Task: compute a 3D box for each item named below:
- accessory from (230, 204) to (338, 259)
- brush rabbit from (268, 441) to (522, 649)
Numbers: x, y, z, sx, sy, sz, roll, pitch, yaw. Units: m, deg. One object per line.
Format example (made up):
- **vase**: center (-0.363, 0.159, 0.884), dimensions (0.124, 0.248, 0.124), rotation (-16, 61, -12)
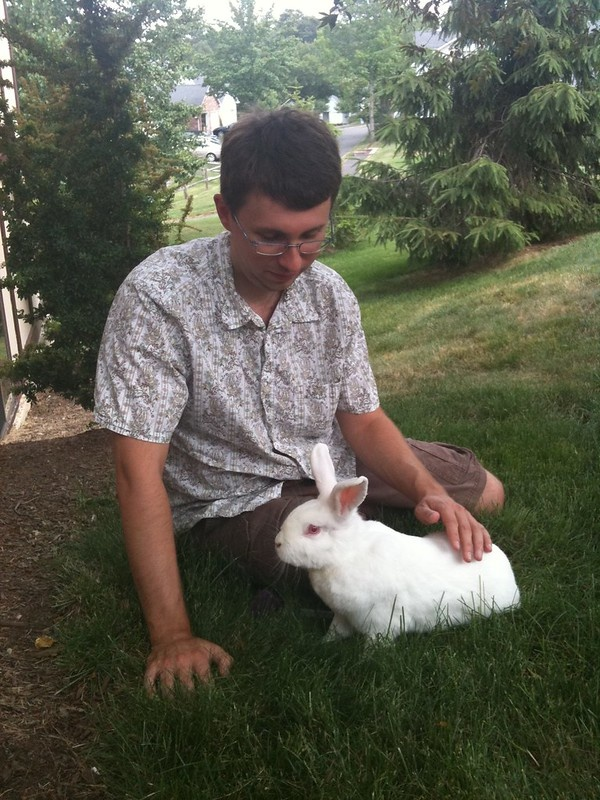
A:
- **accessory**: center (-0.019, -0.548, 2.271), dimensions (0.359, 0.149, 0.189), rotation (-14, 15, -37)
- **brush rabbit**: center (0.323, 0.524, 2.312), dimensions (0.899, 0.656, 0.353), rotation (6, 7, -19)
